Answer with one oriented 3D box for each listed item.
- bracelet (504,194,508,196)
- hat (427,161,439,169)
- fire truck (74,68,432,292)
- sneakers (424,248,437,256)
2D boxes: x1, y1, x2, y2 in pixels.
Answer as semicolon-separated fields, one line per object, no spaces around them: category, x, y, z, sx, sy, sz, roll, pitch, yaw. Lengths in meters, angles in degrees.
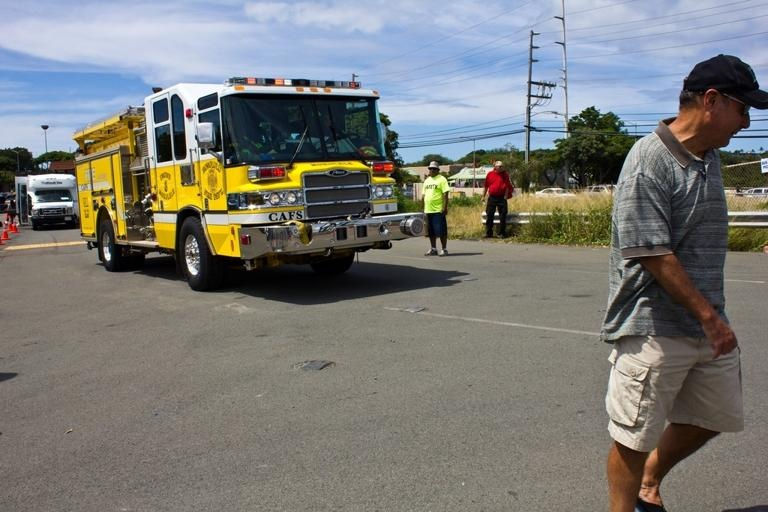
bracelet;3.850;-1.944;16.915;0.085;0.063;0.122;-4;0;30
hat;1.257;-2.340;13.488;0.270;0.119;0.306;2;-4;11
fire truck;-3.964;-1.686;12.634;4.068;4.079;9.911;-9;8;-42
sneakers;1.213;-0.099;13.967;0.343;0.152;0.134;-1;0;-44
